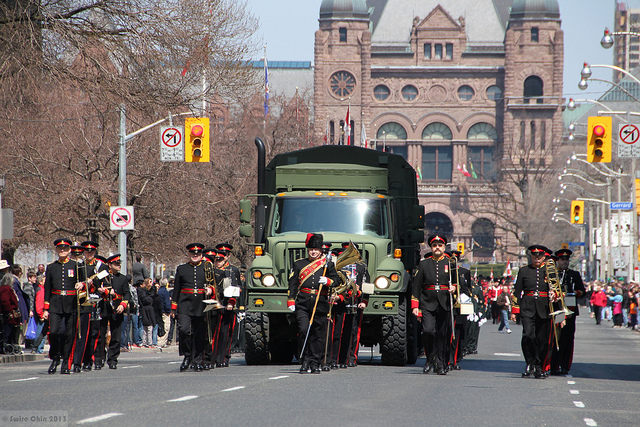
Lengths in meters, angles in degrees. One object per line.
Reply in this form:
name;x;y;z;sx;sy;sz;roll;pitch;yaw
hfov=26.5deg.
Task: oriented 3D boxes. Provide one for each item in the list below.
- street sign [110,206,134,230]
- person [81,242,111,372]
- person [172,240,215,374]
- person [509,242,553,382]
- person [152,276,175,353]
street sign;-7.440;0.085;50.966;0.832;0.888;0.542;-1;-5;-1
person;-6.652;2.680;40.177;1.149;3.512;0.924;0;0;-1
person;-3.778;2.711;40.009;1.141;3.744;0.566;0;-5;-6
person;6.147;2.697;38.976;1.673;3.704;1.188;0;-5;-1
person;-5.779;3.666;49.391;1.198;2.828;0.903;-5;-29;9
